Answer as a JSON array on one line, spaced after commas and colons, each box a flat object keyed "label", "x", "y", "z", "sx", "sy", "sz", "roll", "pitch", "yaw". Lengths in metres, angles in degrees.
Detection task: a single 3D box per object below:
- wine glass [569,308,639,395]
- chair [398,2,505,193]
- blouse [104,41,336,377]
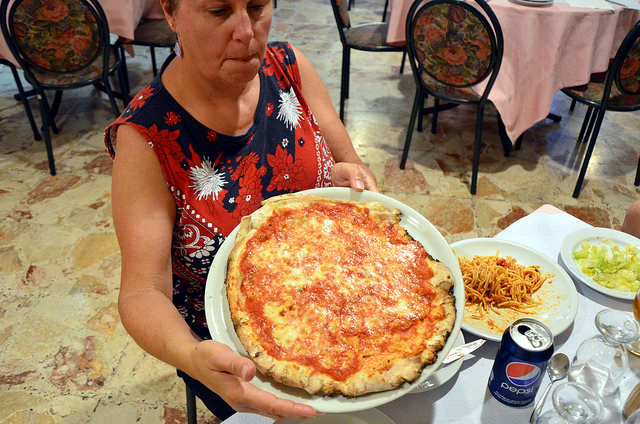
[{"label": "wine glass", "x": 0.945, "y": 0.454, "z": 1.611, "sx": 0.242, "sy": 0.201, "sz": 0.148, "roll": -32, "pitch": 47, "yaw": -32}, {"label": "chair", "x": 0.927, "y": -0.942, "z": 3.581, "sx": 0.704, "sy": 1.293, "sz": 0.811, "roll": 10, "pitch": 40, "yaw": 15}, {"label": "blouse", "x": -0.247, "y": -0.048, "z": 2.159, "sx": 0.904, "sy": 1.239, "sz": 0.667, "roll": -25, "pitch": 16, "yaw": -13}]
